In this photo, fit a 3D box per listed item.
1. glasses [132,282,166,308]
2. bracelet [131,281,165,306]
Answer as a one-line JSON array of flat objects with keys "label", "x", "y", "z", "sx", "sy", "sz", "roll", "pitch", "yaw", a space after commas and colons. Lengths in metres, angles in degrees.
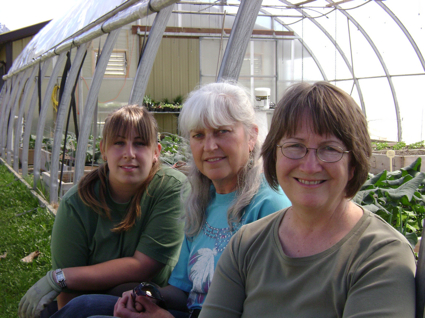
[{"label": "glasses", "x": -0.359, "y": 0.733, "z": 2.115, "sx": 0.146, "sy": 0.153, "sz": 0.118, "roll": -6, "pitch": 5, "yaw": -14}, {"label": "bracelet", "x": -0.362, "y": 0.750, "z": 2.140, "sx": 0.141, "sy": 0.145, "sz": 0.110, "roll": -10, "pitch": 6, "yaw": -14}]
